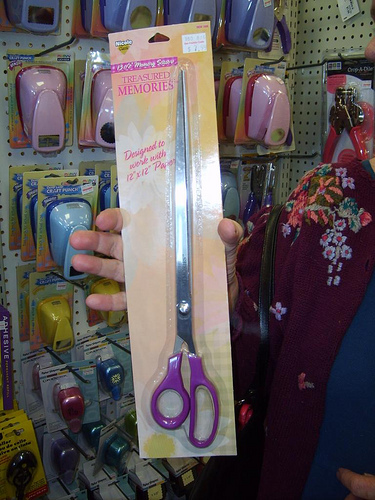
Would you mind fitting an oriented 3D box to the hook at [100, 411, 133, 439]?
[{"bbox_3d":[-0.243,0.579,1.277,0.060,0.079,0.149,-10,20,-34],"label":"hook"}]

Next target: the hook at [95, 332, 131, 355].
[{"bbox_3d":[-0.248,0.310,1.254,0.110,0.071,0.024,3,14,6],"label":"hook"}]

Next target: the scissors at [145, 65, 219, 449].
[{"bbox_3d":[0.002,0.014,0.415,0.082,0.402,0.075,5,14,17],"label":"scissors"}]

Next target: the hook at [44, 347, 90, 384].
[{"bbox_3d":[-0.366,0.349,1.145,0.139,0.102,0.044,8,16,22],"label":"hook"}]

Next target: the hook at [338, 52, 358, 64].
[{"bbox_3d":[0.604,-0.717,1.424,0.016,0.030,0.105,1,29,-43],"label":"hook"}]

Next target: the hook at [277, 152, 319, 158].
[{"bbox_3d":[0.474,-0.397,1.602,0.195,0.024,0.067,-5,18,-18],"label":"hook"}]

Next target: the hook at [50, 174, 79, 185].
[{"bbox_3d":[-0.319,-0.181,0.975,0.079,0.021,0.029,12,20,32],"label":"hook"}]
